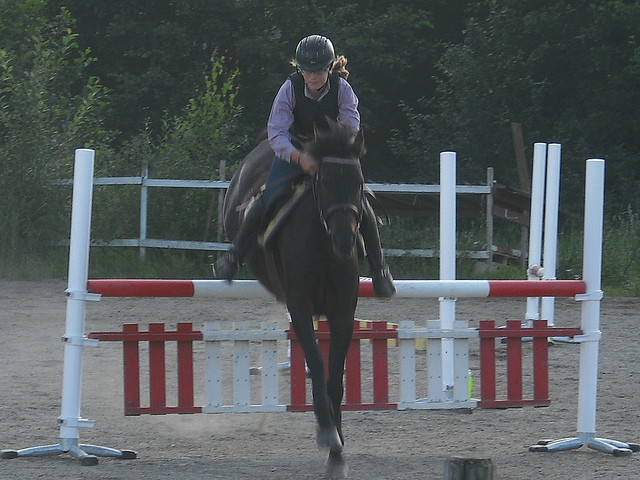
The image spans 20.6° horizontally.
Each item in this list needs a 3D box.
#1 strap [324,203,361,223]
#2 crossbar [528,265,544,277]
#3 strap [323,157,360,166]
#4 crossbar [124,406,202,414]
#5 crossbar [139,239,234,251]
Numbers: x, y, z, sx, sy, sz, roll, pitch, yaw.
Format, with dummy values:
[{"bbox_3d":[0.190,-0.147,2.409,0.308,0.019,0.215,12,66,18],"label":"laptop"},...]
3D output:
[{"bbox_3d":[0.466,-0.450,30.685,0.400,0.095,0.377,-6,-33,14],"label":"strap"},{"bbox_3d":[4.277,0.611,34.626,0.223,0.229,0.187,2,25,-2],"label":"crossbar"},{"bbox_3d":[0.408,-1.408,30.755,0.263,0.059,0.263,17,-16,-35],"label":"strap"},{"bbox_3d":[-2.781,3.075,31.327,0.949,0.131,0.098,1,3,-3],"label":"crossbar"},{"bbox_3d":[-3.103,0.117,41.101,1.934,0.233,0.251,3,34,-1],"label":"crossbar"}]
